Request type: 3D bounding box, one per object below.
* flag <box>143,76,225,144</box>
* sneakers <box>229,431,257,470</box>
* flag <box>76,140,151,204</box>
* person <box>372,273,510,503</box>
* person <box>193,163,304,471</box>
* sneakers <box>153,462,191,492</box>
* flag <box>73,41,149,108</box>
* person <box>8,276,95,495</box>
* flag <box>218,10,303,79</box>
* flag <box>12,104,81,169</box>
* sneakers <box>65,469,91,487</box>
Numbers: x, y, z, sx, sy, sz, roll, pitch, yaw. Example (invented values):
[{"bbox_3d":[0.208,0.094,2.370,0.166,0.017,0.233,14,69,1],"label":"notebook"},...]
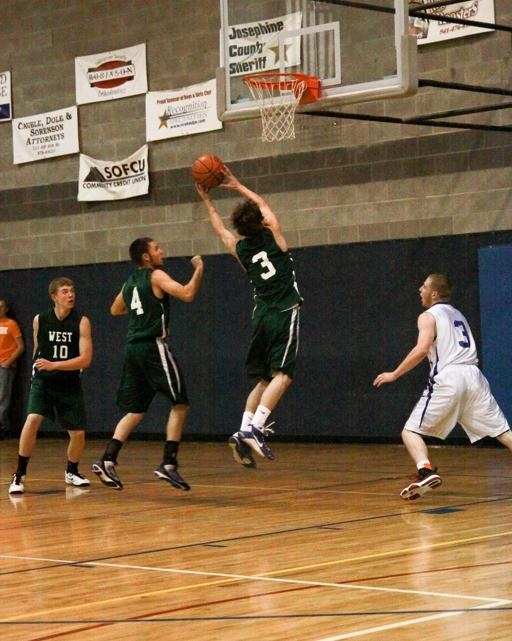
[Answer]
[{"bbox_3d":[-1.022,-2.918,10.896,1.293,0.741,0.164,2,12,30],"label":"flag"},{"bbox_3d":[-0.099,0.825,4.955,0.120,0.334,0.140,-8,51,19],"label":"sneakers"},{"bbox_3d":[-2.104,-2.136,11.478,1.304,0.744,0.163,2,11,28],"label":"flag"},{"bbox_3d":[1.147,0.497,4.697,0.765,1.092,0.549,-10,12,-33],"label":"person"},{"bbox_3d":[0.008,0.007,5.143,0.599,2.001,1.045,-4,10,-1],"label":"person"},{"bbox_3d":[-0.554,1.018,5.075,0.195,0.237,0.254,-5,10,-6],"label":"sneakers"},{"bbox_3d":[-2.173,-3.618,11.535,1.395,0.732,0.146,3,12,32],"label":"flag"},{"bbox_3d":[-1.549,0.562,5.844,0.671,1.739,0.777,-6,10,-12],"label":"person"},{"bbox_3d":[0.067,-2.483,7.068,0.813,0.525,0.049,-3,-2,24],"label":"flag"},{"bbox_3d":[-3.329,-2.872,12.193,1.416,0.788,0.180,2,12,30],"label":"flag"},{"bbox_3d":[-1.458,1.272,6.258,0.243,0.097,0.090,-4,-6,40],"label":"sneakers"}]
